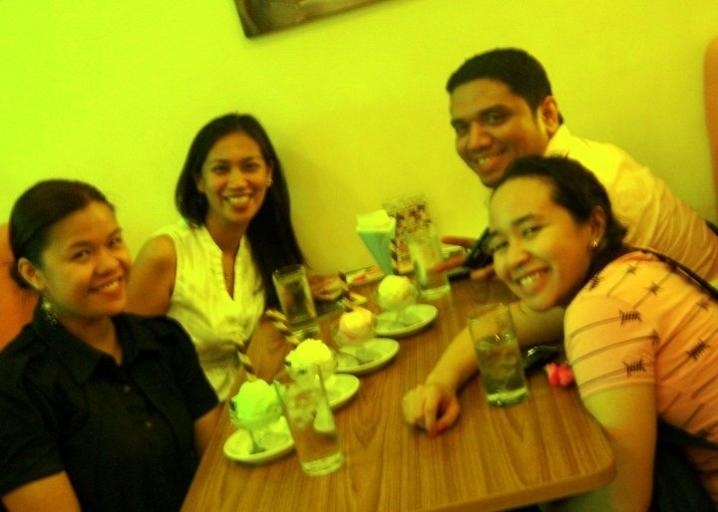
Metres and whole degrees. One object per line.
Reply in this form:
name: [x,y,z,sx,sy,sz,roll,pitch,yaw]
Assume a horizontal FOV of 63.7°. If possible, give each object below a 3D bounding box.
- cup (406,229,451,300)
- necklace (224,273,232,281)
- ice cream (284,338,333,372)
cup: [0.270,0.036,2.261,0.146,0.272,0.068,-19,8,-1]
necklace: [-0.626,0.102,2.771,0.032,0.032,0.009,6,-11,-44]
ice cream: [-0.152,0.278,1.687,0.092,0.061,0.096,0,2,31]
